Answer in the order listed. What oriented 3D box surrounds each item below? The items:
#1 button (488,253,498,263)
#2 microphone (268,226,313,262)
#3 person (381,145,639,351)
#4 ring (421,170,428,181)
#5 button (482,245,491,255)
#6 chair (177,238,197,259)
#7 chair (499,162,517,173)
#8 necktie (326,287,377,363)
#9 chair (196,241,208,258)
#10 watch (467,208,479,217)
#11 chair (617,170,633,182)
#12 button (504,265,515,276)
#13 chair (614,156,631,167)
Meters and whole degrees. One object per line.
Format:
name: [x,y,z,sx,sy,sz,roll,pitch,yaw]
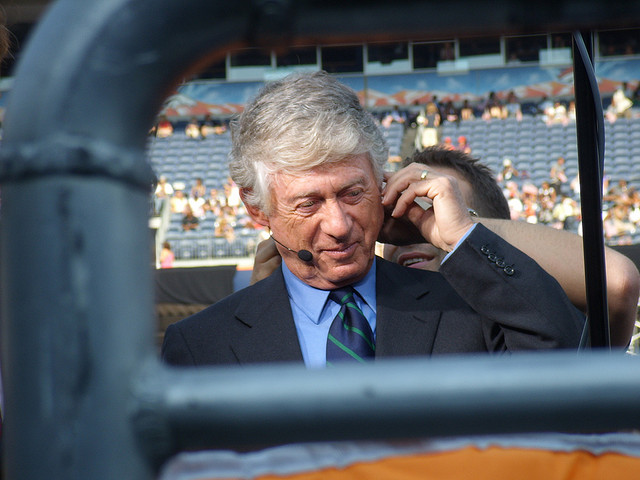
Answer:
button: [0.423,0.045,3.255,0.016,0.024,0.008,9,-38,-3]
microphone: [-0.072,0.011,3.504,0.100,0.070,0.026,21,51,27]
person: [0.491,-0.009,3.677,0.527,0.562,1.107,-3,1,-4]
ring: [0.276,-0.170,3.517,0.019,0.022,0.021,6,26,13]
button: [0.408,0.027,3.260,0.022,0.014,0.014,-4,2,-13]
chair: [-1.283,0.088,12.950,0.173,0.197,0.334,-2,1,-3]
chair: [2.159,-0.843,15.241,0.198,0.111,0.683,-3,1,8]
necktie: [0.078,0.222,3.402,0.130,0.130,0.249,-3,1,1]
chair: [-1.135,0.107,12.911,0.101,0.197,0.105,-2,-35,-4]
watch: [0.416,-0.070,3.586,0.032,0.009,0.028,32,9,-11]
chair: [3.217,-0.672,14.013,0.157,0.133,0.563,-3,2,13]
button: [0.469,0.078,3.249,0.017,0.024,0.009,4,-22,-11]
chair: [3.284,-0.859,14.427,0.197,0.110,0.165,-3,2,23]
